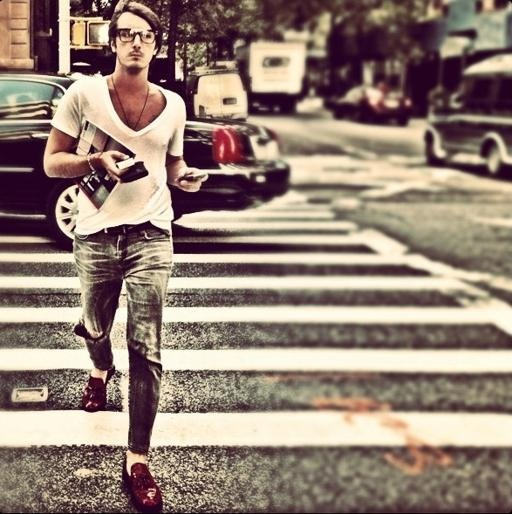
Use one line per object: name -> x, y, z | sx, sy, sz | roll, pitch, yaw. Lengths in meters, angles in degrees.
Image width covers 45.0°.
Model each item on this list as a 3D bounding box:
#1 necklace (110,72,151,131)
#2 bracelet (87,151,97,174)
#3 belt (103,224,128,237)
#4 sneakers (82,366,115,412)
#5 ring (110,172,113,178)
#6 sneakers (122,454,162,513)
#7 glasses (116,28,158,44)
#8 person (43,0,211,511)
necklace -> -0.483, -0.578, 2.368 | 0.145, 0.181, 0.083 | 0, 10, -12
bracelet -> -0.628, -0.351, 2.353 | 0.031, 0.077, 0.107 | -1, 10, -15
belt -> -0.561, -0.103, 2.478 | 0.064, 0.026, 0.050 | -1, 7, 10
sneakers -> -0.846, 0.665, 3.284 | 0.102, 0.098, 0.283 | 6, 46, -5
ring -> -0.527, -0.298, 2.244 | 0.004, 0.016, 0.017 | -6, 0, -2
sneakers -> -0.420, 0.840, 2.302 | 0.074, 0.087, 0.219 | -5, 15, -22
glasses -> -0.465, -0.851, 2.394 | 0.145, 0.058, 0.063 | 0, 10, -12
person -> -0.527, -0.080, 2.553 | 0.603, 1.902, 1.025 | -6, 12, -37
